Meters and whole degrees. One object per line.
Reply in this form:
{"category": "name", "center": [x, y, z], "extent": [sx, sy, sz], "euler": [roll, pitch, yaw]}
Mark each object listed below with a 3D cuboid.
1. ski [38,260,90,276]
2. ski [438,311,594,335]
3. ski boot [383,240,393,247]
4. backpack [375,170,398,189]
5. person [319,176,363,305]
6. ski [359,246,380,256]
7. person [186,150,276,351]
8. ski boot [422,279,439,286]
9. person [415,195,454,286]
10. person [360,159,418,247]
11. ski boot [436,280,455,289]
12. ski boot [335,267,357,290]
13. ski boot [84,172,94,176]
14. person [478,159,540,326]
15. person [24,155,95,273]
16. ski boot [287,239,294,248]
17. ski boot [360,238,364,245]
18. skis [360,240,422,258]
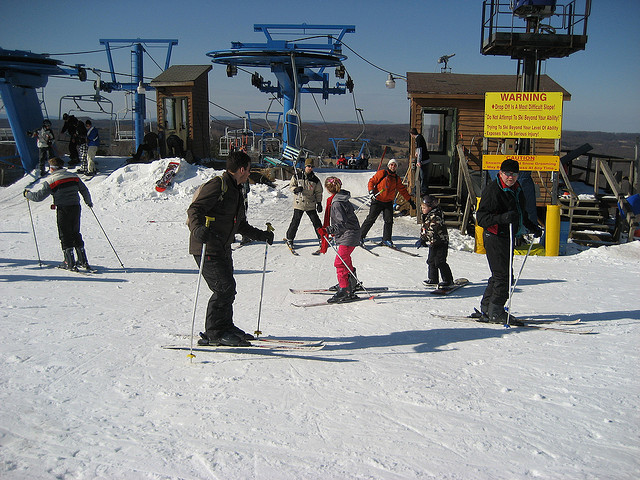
{"category": "ski", "center": [-4.720, 0.523, 10.183], "extent": [0.680, 0.064, 0.096], "euler": [16, 8, 18]}
{"category": "ski", "center": [2.789, 1.198, 7.852], "extent": [1.726, 0.089, 0.189], "euler": [4, 3, 22]}
{"category": "ski boot", "center": [1.542, 0.063, 12.526], "extent": [0.259, 0.085, 0.109], "euler": [30, -21, -1]}
{"category": "backpack", "center": [1.439, -1.246, 11.898], "extent": [0.337, 0.426, 0.400], "euler": [8, -6, 2]}
{"category": "person", "center": [0.321, 0.006, 8.906], "extent": [0.565, 1.995, 0.590], "euler": [3, 13, 17]}
{"category": "ski", "center": [1.058, 0.246, 11.991], "extent": [0.340, 0.064, 0.075], "euler": [32, -14, 25]}
{"category": "person", "center": [-1.088, 0.190, 6.546], "extent": [0.904, 2.431, 0.603], "euler": [-6, 13, -25]}
{"category": "ski boot", "center": [1.960, 0.753, 9.791], "extent": [0.109, 0.107, 0.246], "euler": [-2, 5, -37]}
{"category": "person", "center": [2.011, 0.030, 9.525], "extent": [0.603, 1.667, 0.626], "euler": [1, 12, 10]}
{"category": "person", "center": [1.445, -0.805, 12.155], "extent": [1.039, 1.946, 0.515], "euler": [0, 12, 2]}
{"category": "ski boot", "center": [2.200, 0.780, 9.579], "extent": [0.347, 0.144, 0.112], "euler": [5, -5, -30]}
{"category": "ski boot", "center": [0.438, 0.675, 9.327], "extent": [0.304, 0.326, 0.348], "euler": [-1, -1, 1]}
{"category": "ski boot", "center": [-8.295, -2.386, 19.799], "extent": [0.336, 0.113, 0.190], "euler": [-2, 12, -8]}
{"category": "person", "center": [2.607, 0.032, 7.777], "extent": [0.786, 2.315, 0.568], "euler": [-2, 12, -5]}
{"category": "person", "center": [-4.757, -0.493, 10.252], "extent": [0.957, 2.090, 1.098], "euler": [-6, 13, -23]}
{"category": "ski boot", "center": [-0.654, 0.072, 12.167], "extent": [0.063, 0.101, 0.190], "euler": [42, -2, 1]}
{"category": "ski boot", "center": [0.953, 0.028, 12.518], "extent": [0.077, 0.101, 0.175], "euler": [7, -22, 7]}
{"category": "skis", "center": [1.555, 0.207, 12.255], "extent": [0.212, 0.028, 1.287], "euler": [-39, 31, -27]}
